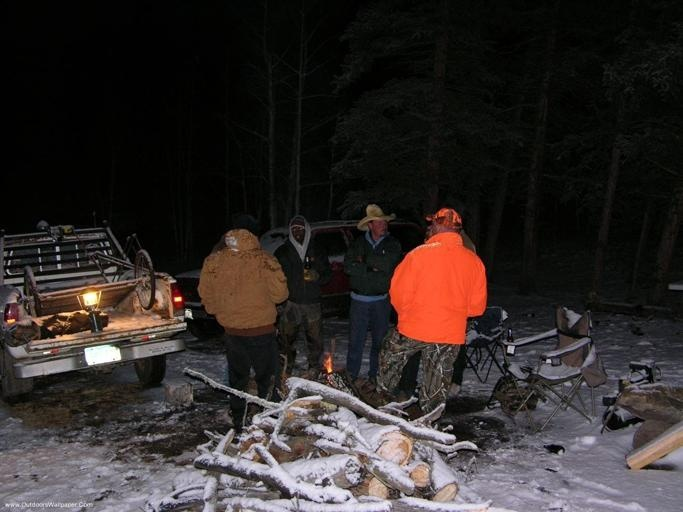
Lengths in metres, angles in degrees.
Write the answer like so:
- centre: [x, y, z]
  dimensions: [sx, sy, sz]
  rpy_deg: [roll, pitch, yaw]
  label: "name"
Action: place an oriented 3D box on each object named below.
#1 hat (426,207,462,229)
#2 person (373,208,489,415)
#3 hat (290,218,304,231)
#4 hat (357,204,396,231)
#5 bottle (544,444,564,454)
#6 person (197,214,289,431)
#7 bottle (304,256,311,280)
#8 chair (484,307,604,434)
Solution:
- centre: [1.104, -0.405, 5.831]
  dimensions: [0.228, 0.178, 0.337]
  rpy_deg: [-9, 24, -31]
  label: "hat"
- centre: [0.980, 0.705, 5.795]
  dimensions: [1.125, 1.920, 0.461]
  rpy_deg: [2, 6, 14]
  label: "person"
- centre: [-0.619, -0.468, 7.617]
  dimensions: [0.221, 0.161, 0.207]
  rpy_deg: [0, 6, -5]
  label: "hat"
- centre: [0.548, -0.632, 7.959]
  dimensions: [0.518, 0.206, 0.397]
  rpy_deg: [-10, -10, -14]
  label: "hat"
- centre: [2.445, 2.185, 6.089]
  dimensions: [0.221, 0.038, 0.216]
  rpy_deg: [1, 5, 0]
  label: "bottle"
- centre: [-1.182, 0.709, 6.533]
  dimensions: [1.026, 2.076, 0.337]
  rpy_deg: [0, 6, -9]
  label: "person"
- centre: [-0.476, 0.174, 7.542]
  dimensions: [0.095, 0.325, 0.252]
  rpy_deg: [0, 6, -4]
  label: "bottle"
- centre: [2.833, 1.469, 7.223]
  dimensions: [1.422, 1.365, 1.457]
  rpy_deg: [-3, 2, 42]
  label: "chair"
